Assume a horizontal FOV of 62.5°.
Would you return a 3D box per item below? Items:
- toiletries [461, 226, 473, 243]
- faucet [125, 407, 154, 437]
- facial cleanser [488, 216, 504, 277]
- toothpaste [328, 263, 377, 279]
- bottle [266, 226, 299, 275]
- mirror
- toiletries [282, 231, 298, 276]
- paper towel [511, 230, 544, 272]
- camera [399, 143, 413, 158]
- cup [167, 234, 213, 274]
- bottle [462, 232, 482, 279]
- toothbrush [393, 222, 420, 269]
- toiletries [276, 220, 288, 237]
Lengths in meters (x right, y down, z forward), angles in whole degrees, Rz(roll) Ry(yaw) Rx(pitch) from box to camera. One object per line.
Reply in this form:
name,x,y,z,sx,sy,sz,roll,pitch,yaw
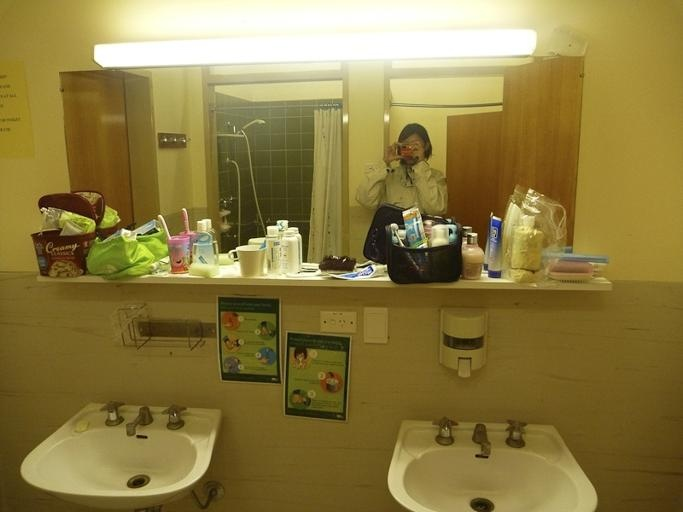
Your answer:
toiletries,0.435,-0.075,1.948,0.050,0.057,0.050,-1,9,-11
faucet,-0.760,0.616,2.122,0.053,0.059,0.127,6,31,11
facial cleanser,0.531,-0.030,1.928,0.052,0.209,0.037,1,12,15
toothpaste,0.056,0.058,1.998,0.189,0.032,0.088,-2,11,5
bottle,-0.211,-0.016,2.015,0.148,0.232,0.081,3,11,7
mirror,-0.116,-0.372,2.077,1.952,0.705,0.130,-1,12,6
toiletries,-0.182,-0.008,2.014,0.060,0.141,0.033,-5,12,-12
paper towel,0.634,-0.008,1.920,0.102,0.166,0.096,-5,11,-24
camera,0.233,-0.378,2.031,0.036,0.057,0.056,8,4,9
cup,-0.549,-0.013,2.041,0.194,0.188,0.109,0,-2,0
bottle,0.471,-0.008,1.958,0.067,0.159,0.143,4,13,28
toothbrush,0.205,-0.031,1.935,0.111,0.152,0.173,-4,12,-8
toiletries,-0.207,-0.102,2.034,0.040,0.053,0.051,2,4,-1
